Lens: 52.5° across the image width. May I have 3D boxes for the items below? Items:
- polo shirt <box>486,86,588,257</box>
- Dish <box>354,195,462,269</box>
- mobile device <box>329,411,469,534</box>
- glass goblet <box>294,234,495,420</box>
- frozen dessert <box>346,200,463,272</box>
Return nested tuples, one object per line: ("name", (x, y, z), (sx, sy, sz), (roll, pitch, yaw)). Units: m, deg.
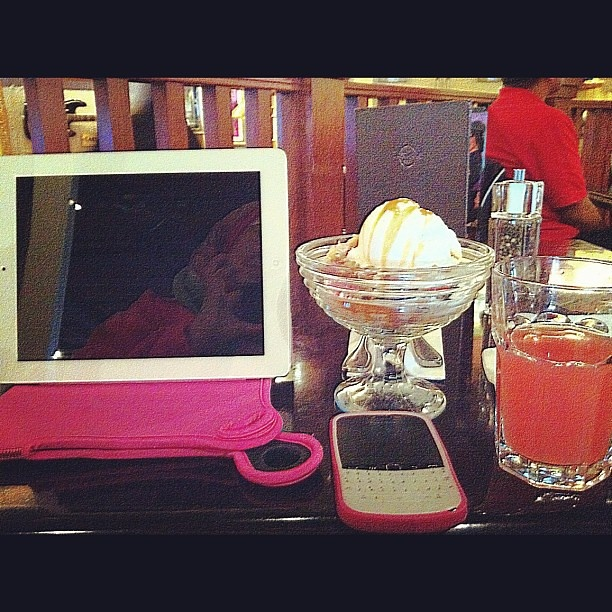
("polo shirt", (0.281, -0.168, 0.762), (0.117, 0.191, 0.019), (-4, 14, -3))
("Dish", (0.107, -0.079, 0.675), (0.099, 0.049, 0.094), (5, 11, 29))
("mobile device", (0.089, 0.174, 0.638), (0.127, 0.067, 0.129), (-2, 11, 0))
("glass goblet", (0.094, 0.012, 0.780), (0.265, 0.177, 0.227), (0, 17, 0))
("frozen dessert", (0.124, -0.082, 0.707), (0.143, 0.065, 0.126), (-3, 13, 0))
